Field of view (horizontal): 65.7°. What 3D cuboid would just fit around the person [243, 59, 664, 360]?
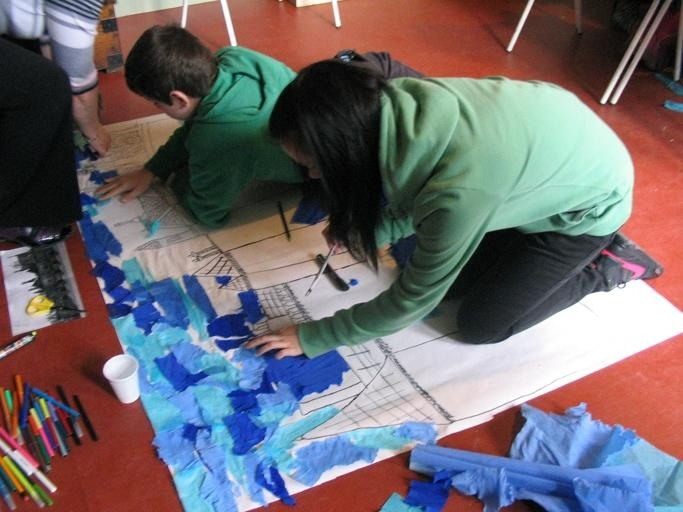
[{"bbox_3d":[0.347,-0.186,1.795,1.258,0.954,0.685,-13,35,-5],"label":"person"}]

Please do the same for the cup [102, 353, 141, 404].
[{"bbox_3d":[-0.747,0.424,1.824,0.106,0.146,0.120,-13,51,-23],"label":"cup"}]

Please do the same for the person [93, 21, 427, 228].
[{"bbox_3d":[-0.310,-0.552,2.481,1.368,0.677,0.781,-5,79,-12],"label":"person"}]
